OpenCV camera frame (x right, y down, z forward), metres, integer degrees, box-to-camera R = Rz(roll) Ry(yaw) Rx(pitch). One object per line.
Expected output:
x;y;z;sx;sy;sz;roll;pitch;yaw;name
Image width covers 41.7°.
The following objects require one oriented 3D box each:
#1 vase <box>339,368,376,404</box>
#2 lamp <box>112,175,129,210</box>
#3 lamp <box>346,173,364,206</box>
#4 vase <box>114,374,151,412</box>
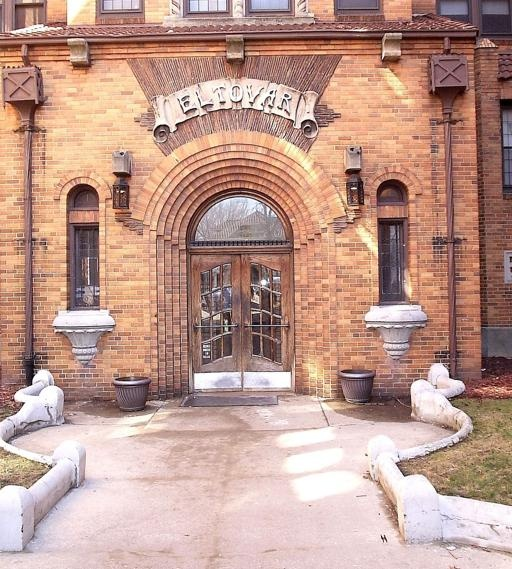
1.573;1.570;10.503;0.531;0.373;0.508;-1;-4;-1;vase
-2.160;-1.458;10.786;0.278;0.532;0.256;-2;6;-11;lamp
1.572;-1.475;10.718;0.239;0.457;0.155;-2;6;-5;lamp
-1.859;1.630;10.099;0.526;0.354;0.504;0;-6;-6;vase
